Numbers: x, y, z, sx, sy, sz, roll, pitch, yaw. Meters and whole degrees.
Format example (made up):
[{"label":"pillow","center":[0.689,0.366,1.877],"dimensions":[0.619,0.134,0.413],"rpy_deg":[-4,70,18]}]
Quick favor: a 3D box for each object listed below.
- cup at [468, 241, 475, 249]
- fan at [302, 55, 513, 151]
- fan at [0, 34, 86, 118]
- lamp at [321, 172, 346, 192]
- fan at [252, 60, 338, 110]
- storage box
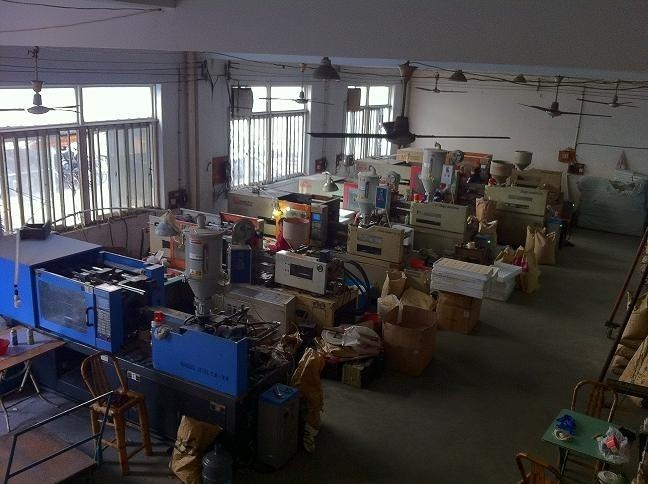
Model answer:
[{"label":"cup","center":[2.407,0.048,8.163],"dimensions":[0.114,0.110,0.118],"rpy_deg":[-1,18,0]},{"label":"fan","center":[1.901,-3.057,11.067],"dimensions":[3.566,1.739,3.674],"rpy_deg":[0,19,-5]},{"label":"fan","center":[-3.769,-2.079,6.422],"dimensions":[0.726,0.867,1.423],"rpy_deg":[-3,14,-13]},{"label":"lamp","center":[0.127,-1.086,9.251],"dimensions":[0.369,0.412,0.464],"rpy_deg":[-1,11,14]},{"label":"fan","center":[-0.691,-3.126,9.890],"dimensions":[1.691,1.121,1.737],"rpy_deg":[6,17,17]},{"label":"storage box","center":[1.325,0.851,6.177],"dimensions":[1.388,0.578,1.373],"rpy_deg":[9,38,23]}]
